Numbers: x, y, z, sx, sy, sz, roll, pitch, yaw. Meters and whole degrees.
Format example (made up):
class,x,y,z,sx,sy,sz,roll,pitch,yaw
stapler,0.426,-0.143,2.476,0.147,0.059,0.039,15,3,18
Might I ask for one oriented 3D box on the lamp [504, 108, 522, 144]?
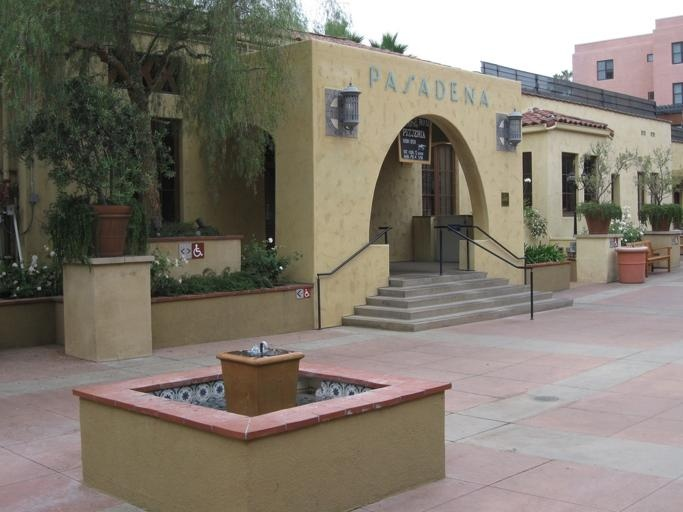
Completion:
class,x,y,z,sx,sy,sz,roll,pitch,yaw
lamp,4.554,-3.314,15.181,0.361,0.815,0.188,2,4,-5

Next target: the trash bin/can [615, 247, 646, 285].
class,x,y,z,sx,sy,sz,roll,pitch,yaw
trash bin/can,9.592,0.323,19.182,1.064,1.198,1.122,1,-4,0

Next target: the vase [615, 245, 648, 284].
class,x,y,z,sx,sy,sz,roll,pitch,yaw
vase,9.538,0.262,19.047,0.995,1.112,1.008,-4,4,-41

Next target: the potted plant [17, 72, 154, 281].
class,x,y,z,sx,sy,sz,roll,pitch,yaw
potted plant,-3.565,-1.758,9.939,2.187,3.232,2.817,10,23,28

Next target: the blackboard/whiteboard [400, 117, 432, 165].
class,x,y,z,sx,sy,sz,roll,pitch,yaw
blackboard/whiteboard,1.989,-3.049,15.608,1.180,1.184,0.077,-3,3,-36

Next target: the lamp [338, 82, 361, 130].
class,x,y,z,sx,sy,sz,roll,pitch,yaw
lamp,0.160,-3.088,11.914,0.444,1.017,0.516,2,4,0
